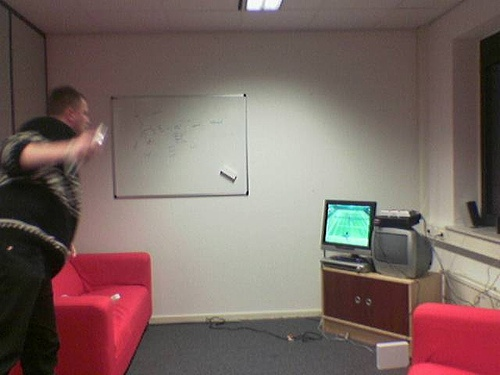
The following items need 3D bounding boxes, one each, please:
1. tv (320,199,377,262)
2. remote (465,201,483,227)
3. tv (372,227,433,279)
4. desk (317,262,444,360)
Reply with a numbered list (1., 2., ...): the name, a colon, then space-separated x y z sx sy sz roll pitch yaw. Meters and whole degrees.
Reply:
1. tv: 1.007 0.432 3.990 0.516 0.614 0.229 3 -4 24
2. remote: 2.241 0.266 3.982 0.052 0.304 0.186 -6 -4 8
3. tv: 1.462 0.549 3.796 0.440 0.466 0.453 -2 0 -43
4. desk: 1.140 1.123 3.791 0.642 0.857 1.113 3 -4 -43
